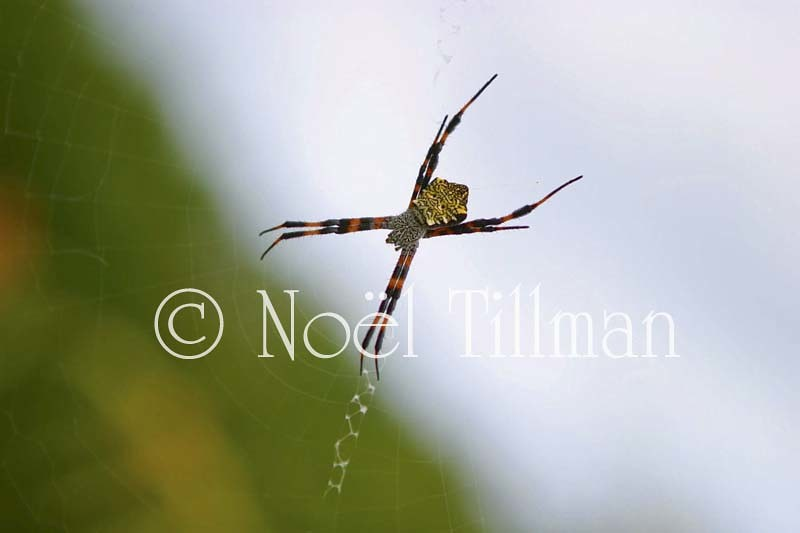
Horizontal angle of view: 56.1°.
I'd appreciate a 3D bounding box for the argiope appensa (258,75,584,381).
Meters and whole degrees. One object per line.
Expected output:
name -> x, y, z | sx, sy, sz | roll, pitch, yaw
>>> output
argiope appensa -> 0.130, -0.270, 4.410 | 1.765, 1.063, 0.542 | -16, -103, 36
